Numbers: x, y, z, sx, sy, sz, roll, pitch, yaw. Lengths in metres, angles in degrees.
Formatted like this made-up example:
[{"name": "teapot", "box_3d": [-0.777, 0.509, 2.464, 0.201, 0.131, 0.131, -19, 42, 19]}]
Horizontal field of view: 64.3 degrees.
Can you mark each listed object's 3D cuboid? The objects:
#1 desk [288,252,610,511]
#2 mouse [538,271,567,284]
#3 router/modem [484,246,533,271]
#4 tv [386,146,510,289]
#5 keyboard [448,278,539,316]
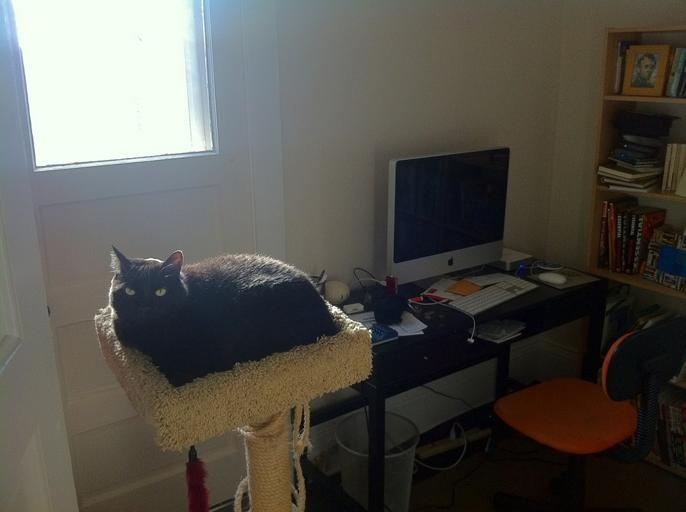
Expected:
[{"name": "desk", "box_3d": [0.406, 0.315, 2.342, 1.541, 1.135, 0.785, -15, 22, -37]}, {"name": "mouse", "box_3d": [0.918, 0.100, 2.394, 0.058, 0.022, 0.084, -3, 12, -3]}, {"name": "router/modem", "box_3d": [0.775, 0.015, 2.566, 0.138, 0.034, 0.132, -15, 24, -31]}, {"name": "tv", "box_3d": [0.414, -0.159, 2.245, 0.692, 0.505, 0.060, -11, 16, -39]}, {"name": "keyboard", "box_3d": [0.635, 0.162, 2.253, 0.403, 0.025, 0.148, -17, 21, -29]}]
